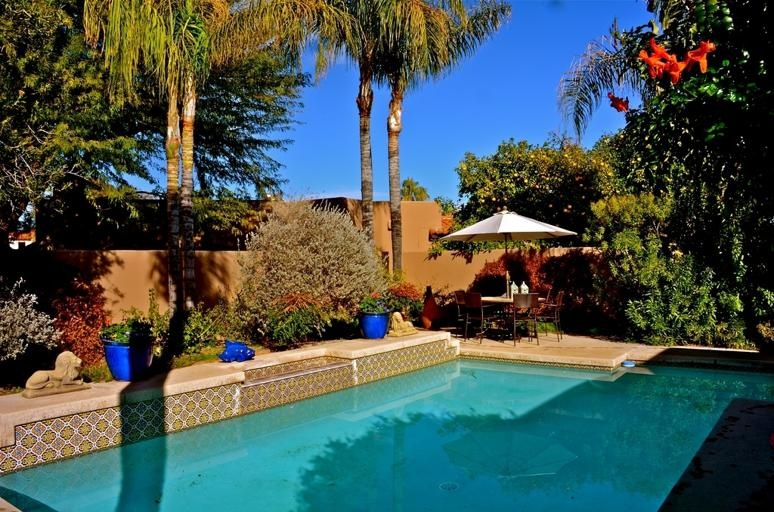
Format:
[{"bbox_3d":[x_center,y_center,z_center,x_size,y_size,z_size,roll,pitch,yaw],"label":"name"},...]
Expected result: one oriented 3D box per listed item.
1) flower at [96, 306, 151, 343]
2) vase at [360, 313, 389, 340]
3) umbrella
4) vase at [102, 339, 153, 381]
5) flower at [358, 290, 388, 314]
[{"bbox_3d":[-4.161,1.214,9.235,0.777,0.325,0.383,-6,11,-28],"label":"flower"},{"bbox_3d":[-0.268,1.467,12.351,0.501,0.475,0.539,-3,4,1],"label":"vase"},{"bbox_3d":[2.922,-0.540,14.156,1.803,1.211,2.391,-9,13,-40],"label":"umbrella"},{"bbox_3d":[-4.224,1.662,9.490,0.819,0.713,0.847,3,1,-8],"label":"vase"},{"bbox_3d":[-0.302,0.932,12.290,0.445,0.442,0.472,1,2,32],"label":"flower"}]
